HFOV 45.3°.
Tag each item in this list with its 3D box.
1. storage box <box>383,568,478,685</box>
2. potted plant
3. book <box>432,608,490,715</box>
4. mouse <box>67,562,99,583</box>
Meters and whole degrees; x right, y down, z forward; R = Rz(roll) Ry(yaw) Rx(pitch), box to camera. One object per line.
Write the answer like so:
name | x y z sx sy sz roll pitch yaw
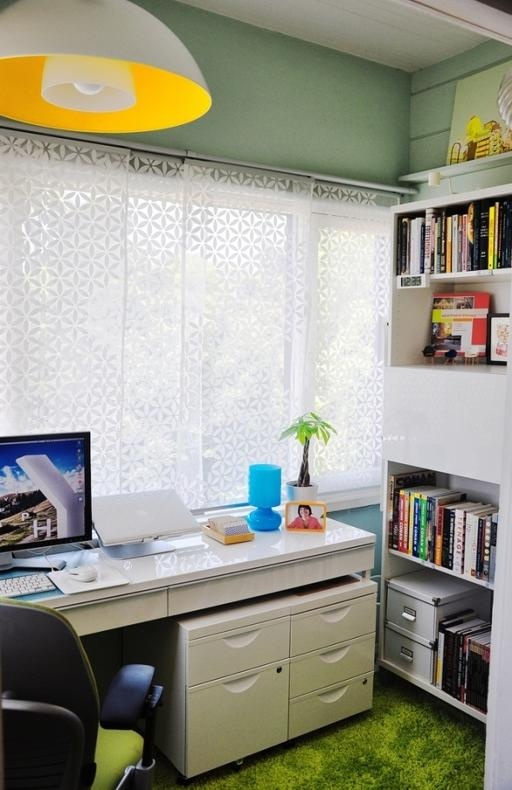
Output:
storage box | 0.658 0.881 2.547 0.309 0.404 0.400 1 1 -23
potted plant | 0.217 0.251 2.559 0.208 0.356 0.445 2 2 7
book | 0.796 0.983 2.254 0.162 0.243 0.243 0 2 -31
mouse | -0.490 0.506 1.747 0.076 0.030 0.110 0 2 -31
